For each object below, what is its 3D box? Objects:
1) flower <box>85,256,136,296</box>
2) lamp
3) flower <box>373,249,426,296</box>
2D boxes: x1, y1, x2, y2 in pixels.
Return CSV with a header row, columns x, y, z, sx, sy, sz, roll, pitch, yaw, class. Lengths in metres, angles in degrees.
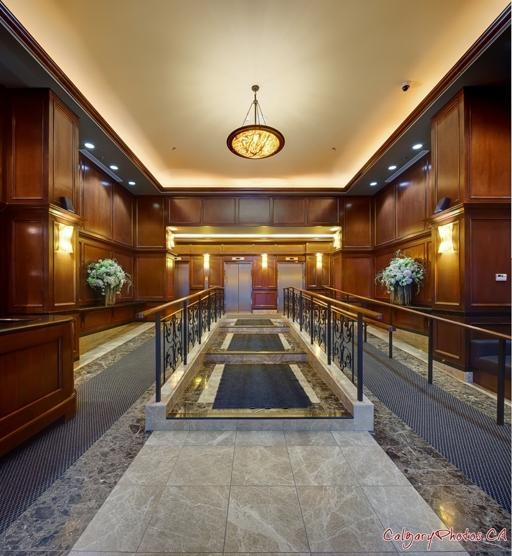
x,y,z,sx,sy,sz,roll,pitch,yaw,class
-3.063,-0.019,7.736,0.420,0.609,0.580,24,1,12,flower
-0.055,-2.383,5.806,0.855,0.886,1.347,-2,7,-11,lamp
2.948,-0.004,7.182,0.716,0.936,0.765,-9,6,-40,flower
